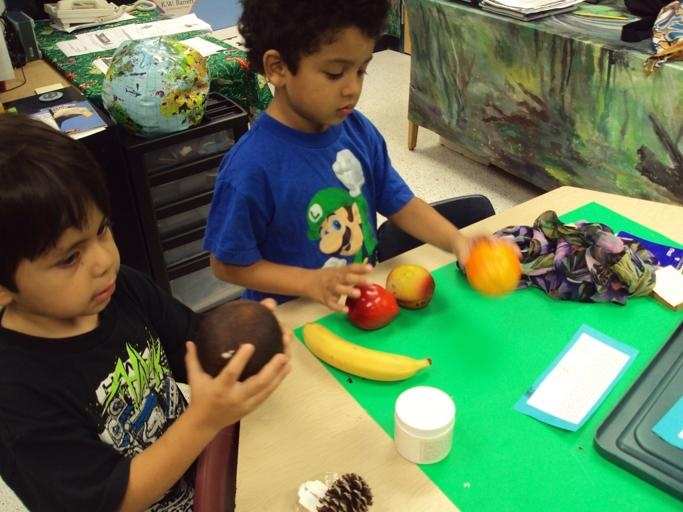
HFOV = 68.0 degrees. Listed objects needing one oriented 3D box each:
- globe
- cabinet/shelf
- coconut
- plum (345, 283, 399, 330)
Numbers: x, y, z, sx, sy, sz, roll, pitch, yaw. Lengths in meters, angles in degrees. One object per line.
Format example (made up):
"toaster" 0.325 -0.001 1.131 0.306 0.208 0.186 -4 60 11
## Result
"globe" -0.669 -0.579 1.868 0.327 0.323 0.342 -16 40 -26
"cabinet/shelf" -0.704 -0.248 2.059 0.530 0.818 0.480 -14 32 -35
"coconut" -0.174 0.138 0.912 0.107 0.147 0.144 31 62 35
"plum" 0.070 0.120 1.165 0.130 0.110 0.105 -13 18 0
